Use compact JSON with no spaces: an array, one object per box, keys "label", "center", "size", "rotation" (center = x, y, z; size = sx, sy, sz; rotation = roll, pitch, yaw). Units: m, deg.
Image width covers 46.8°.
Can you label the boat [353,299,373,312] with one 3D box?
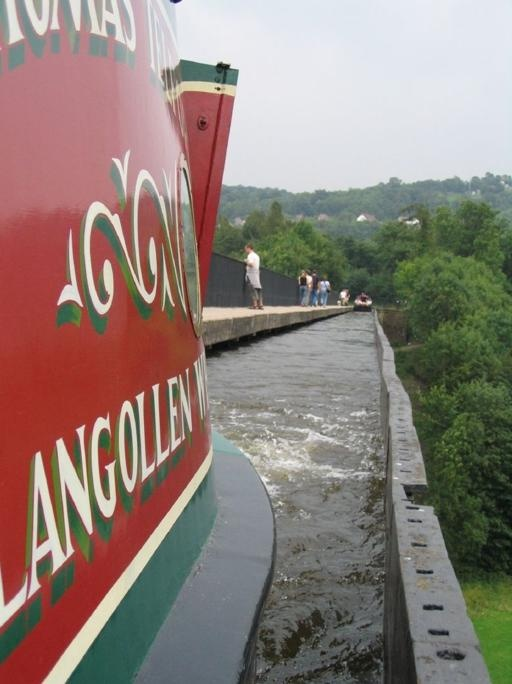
[{"label":"boat","center":[9.897,-3.216,55.290],"size":[1.394,1.533,3.402],"rotation":[2,10,7]}]
